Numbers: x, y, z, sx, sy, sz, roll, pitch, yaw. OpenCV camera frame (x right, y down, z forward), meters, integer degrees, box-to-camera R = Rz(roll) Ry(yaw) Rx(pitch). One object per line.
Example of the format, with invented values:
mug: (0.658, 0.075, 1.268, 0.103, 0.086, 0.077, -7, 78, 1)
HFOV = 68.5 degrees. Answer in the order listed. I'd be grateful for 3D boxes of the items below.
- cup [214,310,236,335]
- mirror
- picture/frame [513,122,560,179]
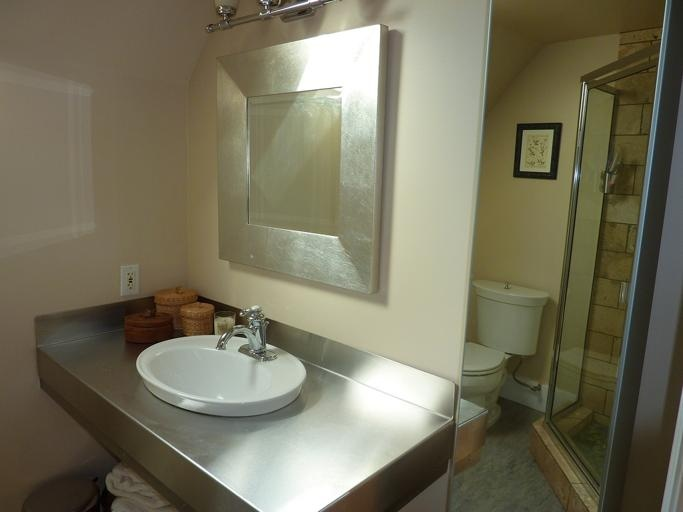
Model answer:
cup: (-0.441, 0.242, 1.949, 0.086, 0.107, 0.094, 2, 9, 0)
mirror: (-0.120, -0.351, 1.716, 0.870, 0.998, 0.067, 8, 13, 40)
picture/frame: (0.509, -0.275, 1.299, 0.124, 0.172, 0.017, 4, 10, 3)
